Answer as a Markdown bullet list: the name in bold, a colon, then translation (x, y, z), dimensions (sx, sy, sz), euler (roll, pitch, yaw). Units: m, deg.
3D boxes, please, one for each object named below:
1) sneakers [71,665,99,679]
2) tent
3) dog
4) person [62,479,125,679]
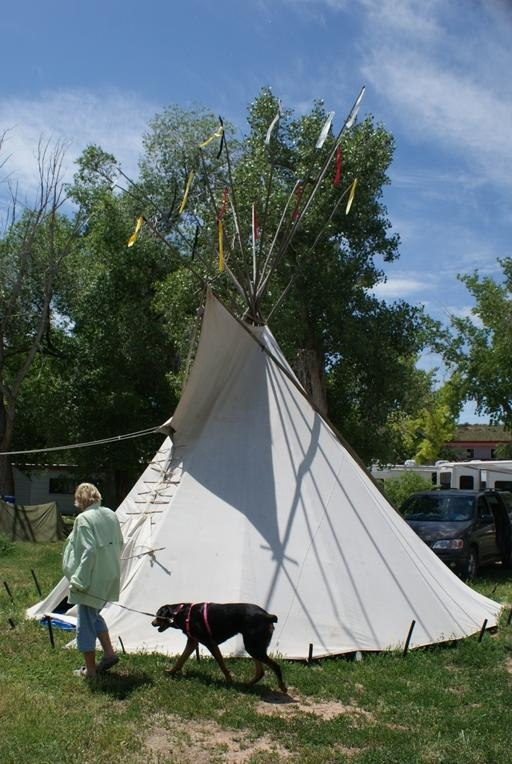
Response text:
- **sneakers**: translation (-1.438, 2.414, 6.314), dimensions (0.202, 0.080, 0.087), euler (-4, -15, 34)
- **tent**: translation (0.220, 1.595, 9.072), dimensions (4.358, 3.323, 4.554), euler (-4, -18, 10)
- **dog**: translation (-0.333, 2.142, 6.274), dimensions (1.244, 0.641, 0.324), euler (-2, -15, 23)
- **person**: translation (-1.402, 1.694, 6.476), dimensions (0.503, 1.594, 0.627), euler (3, 2, -12)
